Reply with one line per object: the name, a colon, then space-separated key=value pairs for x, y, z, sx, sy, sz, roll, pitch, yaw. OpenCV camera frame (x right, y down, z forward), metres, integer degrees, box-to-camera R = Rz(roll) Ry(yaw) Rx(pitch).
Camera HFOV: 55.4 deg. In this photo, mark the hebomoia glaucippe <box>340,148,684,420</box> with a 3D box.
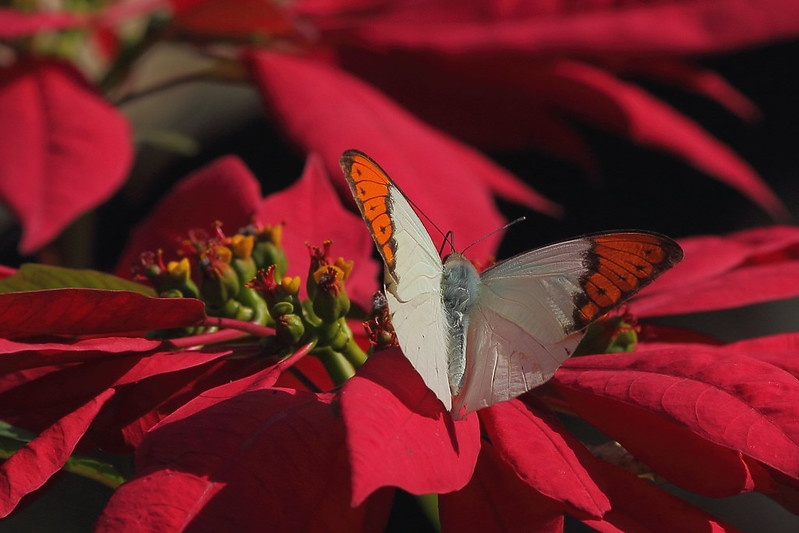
hebomoia glaucippe: x=0.048 y=0.022 z=0.493 sx=0.218 sy=0.087 sz=0.125 roll=28 pitch=30 yaw=-20
